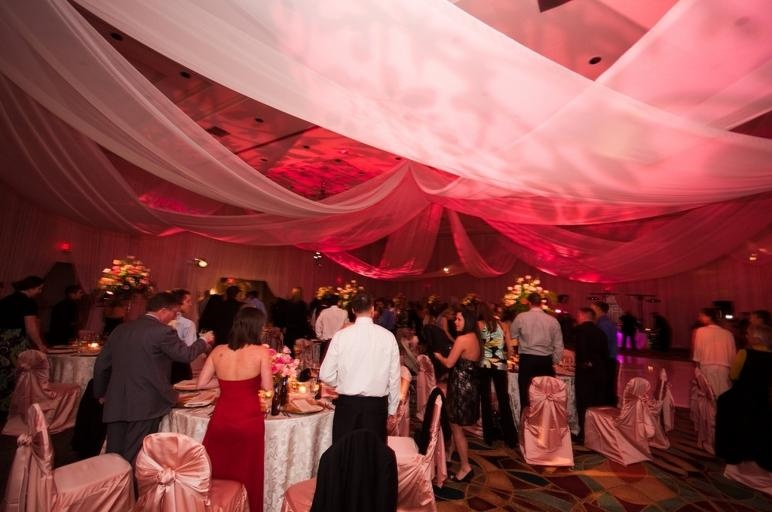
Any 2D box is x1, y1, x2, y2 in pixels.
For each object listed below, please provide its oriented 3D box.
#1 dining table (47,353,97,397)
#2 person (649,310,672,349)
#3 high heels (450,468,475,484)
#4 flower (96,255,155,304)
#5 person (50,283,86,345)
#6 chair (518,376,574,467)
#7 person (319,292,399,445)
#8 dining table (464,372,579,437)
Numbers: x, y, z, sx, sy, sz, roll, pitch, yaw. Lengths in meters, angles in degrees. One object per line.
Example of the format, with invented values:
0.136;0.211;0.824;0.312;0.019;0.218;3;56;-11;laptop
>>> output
-4.294;1.561;6.612;0.576;0.434;0.574;7;-5;23;dining table
8.240;2.204;14.619;0.298;0.855;0.289;-2;0;-7;person
0.888;2.563;5.637;0.313;0.134;0.107;1;-7;11;high heels
-4.584;0.415;8.385;0.786;0.774;0.784;9;-25;7;flower
-4.977;0.933;7.526;0.406;0.957;0.985;12;-19;-32;person
1.999;2.069;6.072;0.640;1.080;0.450;-2;-16;15;chair
-0.280;1.501;5.103;0.824;2.227;0.603;3;10;-1;person
2.174;2.070;7.236;1.105;1.012;1.112;-1;-15;6;dining table
